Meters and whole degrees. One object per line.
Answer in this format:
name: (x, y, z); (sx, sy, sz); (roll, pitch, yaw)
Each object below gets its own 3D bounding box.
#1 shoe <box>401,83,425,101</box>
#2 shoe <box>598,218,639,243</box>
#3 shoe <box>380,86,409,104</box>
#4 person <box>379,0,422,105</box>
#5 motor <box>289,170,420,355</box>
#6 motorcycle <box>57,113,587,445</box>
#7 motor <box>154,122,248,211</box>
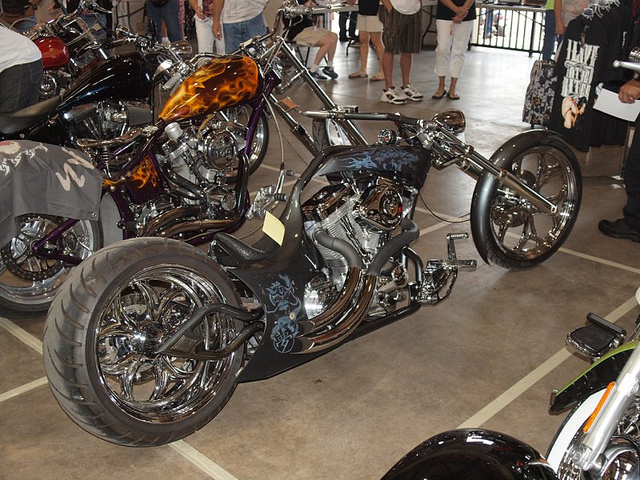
shoe: (1.735, -2.740, 8.541); (0.490, 0.219, 0.228); (30, 55, 17)
shoe: (2.697, -0.092, 4.138); (0.346, 0.160, 0.137); (19, 29, 34)
shoe: (1.342, -2.621, 8.357); (0.543, 0.261, 0.256); (3, 32, 6)
person: (1.479, -3.374, 8.308); (0.798, 1.729, 0.809); (1, 24, 6)
motor: (0.130, 0.058, 2.678); (0.667, 1.055, 0.524); (18, -6, -22)
motorcycle: (0.728, -0.301, 3.298); (4.701, 1.507, 1.419); (-17, 32, -27)
motor: (-0.881, -0.388, 3.498); (0.295, 0.358, 0.717); (13, 7, 35)
